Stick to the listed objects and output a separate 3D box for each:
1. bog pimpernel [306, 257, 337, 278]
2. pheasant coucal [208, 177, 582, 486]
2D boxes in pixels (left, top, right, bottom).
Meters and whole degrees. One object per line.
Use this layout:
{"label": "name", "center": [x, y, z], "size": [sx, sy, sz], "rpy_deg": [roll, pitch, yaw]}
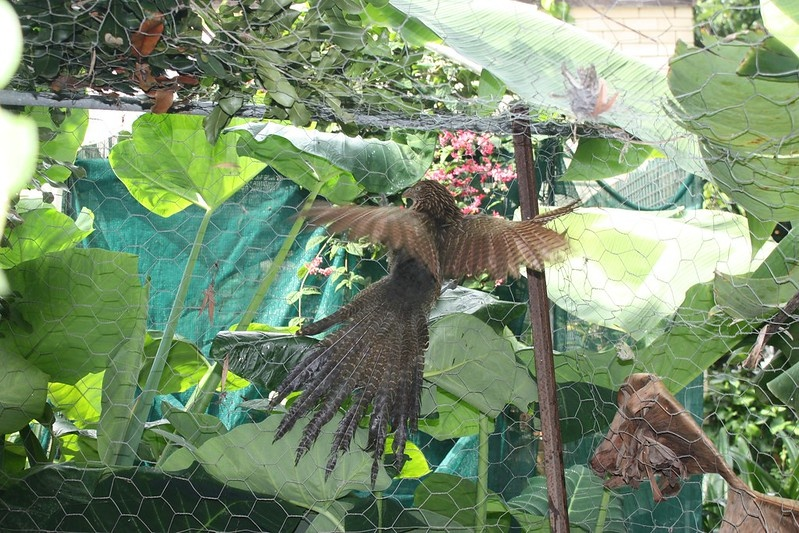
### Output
{"label": "bog pimpernel", "center": [-0.224, 0.008, 2.743], "size": [0.062, 0.060, 0.029], "rpy_deg": [7, 59, 3]}
{"label": "pheasant coucal", "center": [0.003, 0.145, 2.390], "size": [0.654, 0.759, 0.346], "rpy_deg": [17, 10, 3]}
